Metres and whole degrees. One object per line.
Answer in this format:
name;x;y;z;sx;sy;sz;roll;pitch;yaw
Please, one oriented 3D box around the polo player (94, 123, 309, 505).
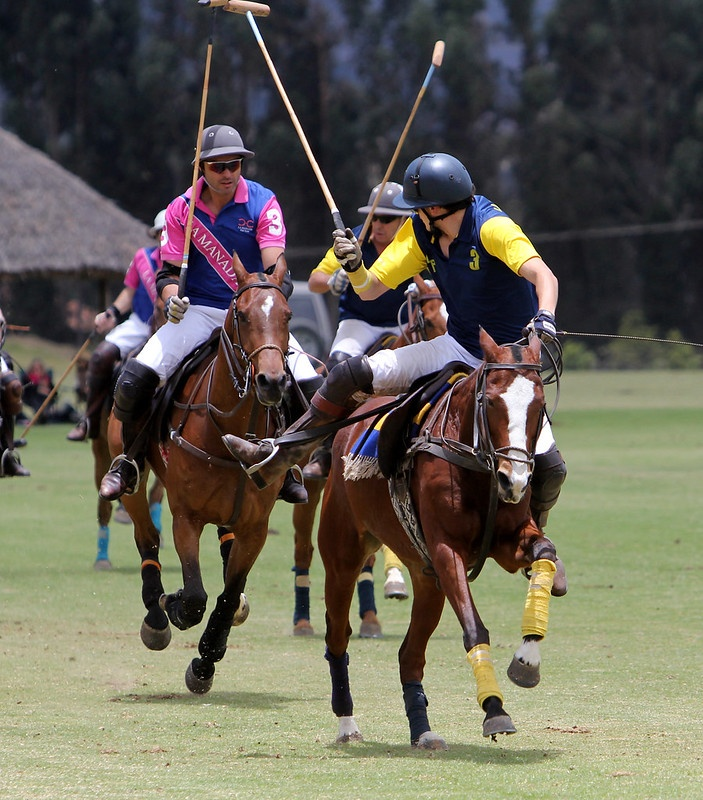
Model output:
polo player;-0.759;-0.486;7.819;1.057;2.076;1.083;0;2;-14
